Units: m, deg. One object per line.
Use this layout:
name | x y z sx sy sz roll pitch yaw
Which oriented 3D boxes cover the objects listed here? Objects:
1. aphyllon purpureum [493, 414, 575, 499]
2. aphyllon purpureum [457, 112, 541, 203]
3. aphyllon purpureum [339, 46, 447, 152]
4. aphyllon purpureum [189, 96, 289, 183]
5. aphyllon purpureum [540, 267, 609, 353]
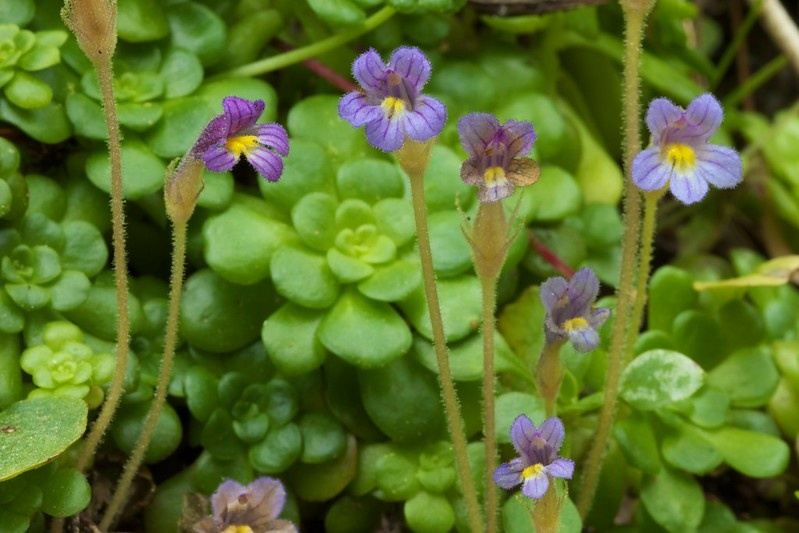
aphyllon purpureum | 0.295 0.417 1.794 0.176 0.076 0.201 -15 41 4
aphyllon purpureum | 0.212 -0.223 1.782 0.169 0.200 0.063 6 77 -30
aphyllon purpureum | 0.020 -0.358 1.794 0.184 0.243 0.091 23 74 19
aphyllon purpureum | -0.338 -0.263 1.817 0.178 0.092 0.191 -30 105 2
aphyllon purpureum | 0.376 0.098 1.848 0.141 0.091 0.189 9 69 -10
